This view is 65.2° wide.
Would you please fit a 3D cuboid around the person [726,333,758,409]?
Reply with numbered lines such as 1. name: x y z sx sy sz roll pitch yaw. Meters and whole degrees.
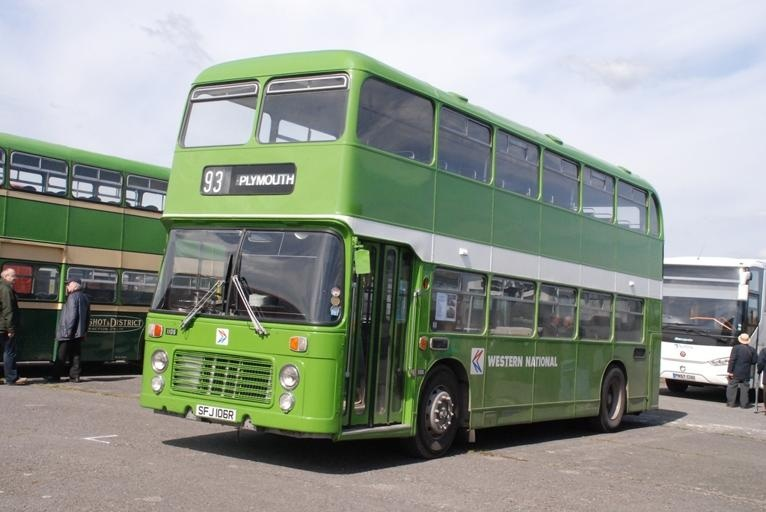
1. person: 12.221 3.978 20.542 0.768 2.820 0.572 6 2 26

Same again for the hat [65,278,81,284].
1. hat: -8.006 0.667 15.473 0.279 0.122 0.213 0 -3 -13

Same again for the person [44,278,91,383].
1. person: -8.147 1.973 15.655 0.771 2.683 0.559 4 2 -24

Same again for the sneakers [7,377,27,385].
1. sneakers: -8.974 3.104 14.747 0.133 0.193 0.414 -1 -11 23
